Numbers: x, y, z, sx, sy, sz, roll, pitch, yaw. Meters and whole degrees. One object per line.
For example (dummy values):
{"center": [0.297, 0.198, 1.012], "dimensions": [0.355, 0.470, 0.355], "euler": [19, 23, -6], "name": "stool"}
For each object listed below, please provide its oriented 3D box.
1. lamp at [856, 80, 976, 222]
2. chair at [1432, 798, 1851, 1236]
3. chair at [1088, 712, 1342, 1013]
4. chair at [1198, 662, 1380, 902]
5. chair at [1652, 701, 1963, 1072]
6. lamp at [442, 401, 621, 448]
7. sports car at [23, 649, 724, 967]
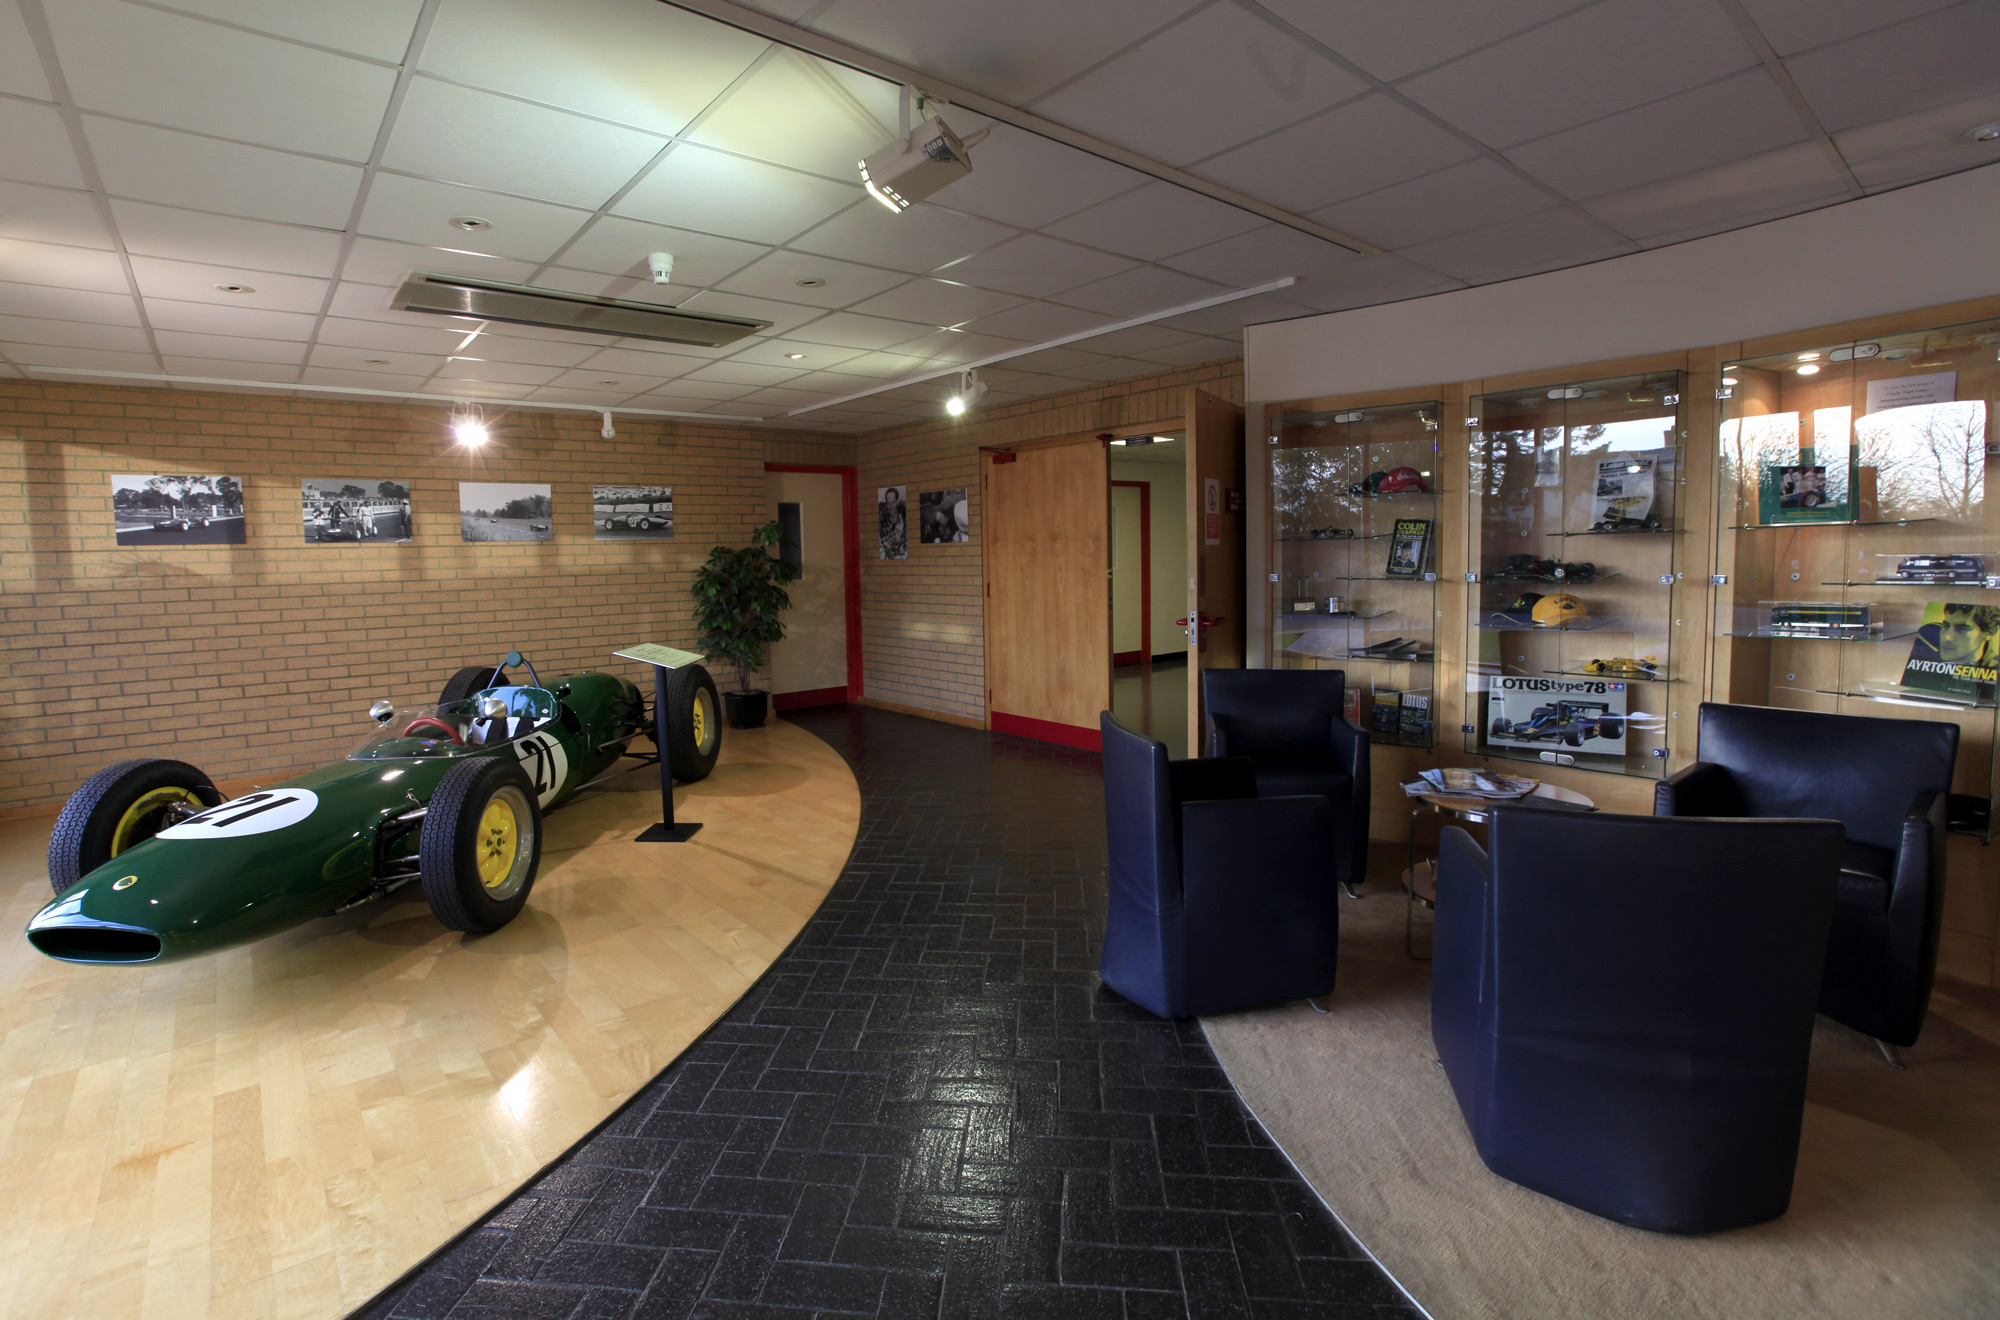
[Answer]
{"center": [-0.372, -2.168, 4.894], "dimensions": [0.415, 0.404, 0.253], "euler": [-17, -15, 26], "name": "lamp"}
{"center": [2.541, 1.282, 4.979], "dimensions": [1.410, 1.645, 1.575], "euler": [-2, 12, 12], "name": "chair"}
{"center": [1.067, 0.964, 5.781], "dimensions": [1.255, 1.231, 1.254], "euler": [2, 7, 22], "name": "chair"}
{"center": [1.624, 0.680, 6.790], "dimensions": [1.039, 1.121, 1.090], "euler": [1, 8, 20], "name": "chair"}
{"center": [3.709, 0.969, 5.445], "dimensions": [1.184, 1.310, 1.107], "euler": [-9, 9, -38], "name": "chair"}
{"center": [-3.960, -1.956, 9.965], "dimensions": [1.313, 0.422, 0.860], "euler": [-1, 6, -16], "name": "lamp"}
{"center": [-3.124, 0.873, 6.606], "dimensions": [1.852, 0.985, 3.420], "euler": [10, 11, 23], "name": "sports car"}
